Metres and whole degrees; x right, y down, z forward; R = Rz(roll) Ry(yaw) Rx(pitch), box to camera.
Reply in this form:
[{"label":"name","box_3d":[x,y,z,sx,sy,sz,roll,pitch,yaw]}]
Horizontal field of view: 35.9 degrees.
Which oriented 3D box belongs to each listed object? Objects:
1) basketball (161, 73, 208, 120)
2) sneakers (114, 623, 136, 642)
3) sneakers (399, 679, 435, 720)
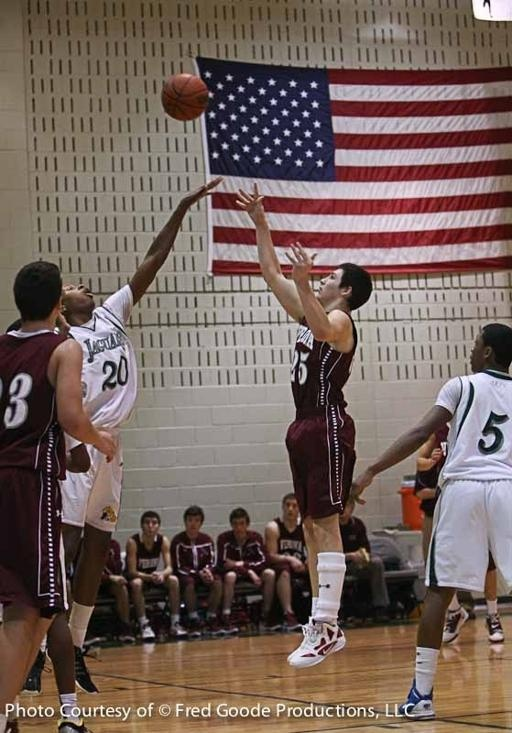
[{"label":"basketball","box_3d":[-0.509,-1.841,5.348,0.326,0.299,0.318,3,6,4]},{"label":"sneakers","box_3d":[-1.174,2.428,7.184,0.106,0.119,0.289,2,-13,-10]},{"label":"sneakers","box_3d":[0.544,1.162,2.725,0.072,0.101,0.158,3,-11,-5]}]
